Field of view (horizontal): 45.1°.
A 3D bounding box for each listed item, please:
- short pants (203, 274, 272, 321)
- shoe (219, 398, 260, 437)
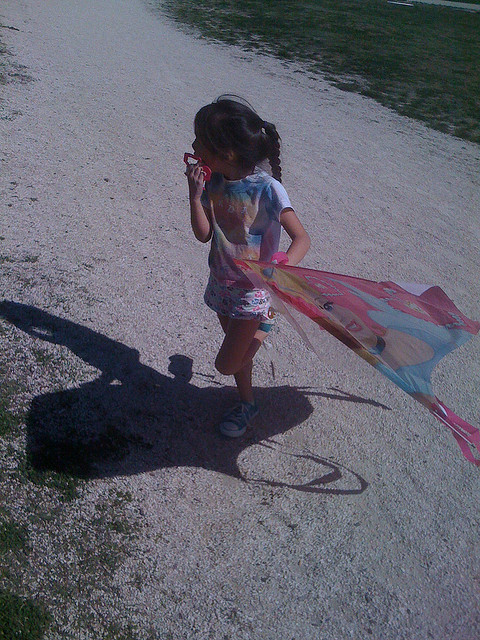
[{"bbox_3d":[-0.004,-0.094,2.227,0.216,0.139,0.165,24,74,10],"label":"short pants"},{"bbox_3d":[0.000,0.425,2.618,0.112,0.099,0.279,9,23,26],"label":"shoe"}]
